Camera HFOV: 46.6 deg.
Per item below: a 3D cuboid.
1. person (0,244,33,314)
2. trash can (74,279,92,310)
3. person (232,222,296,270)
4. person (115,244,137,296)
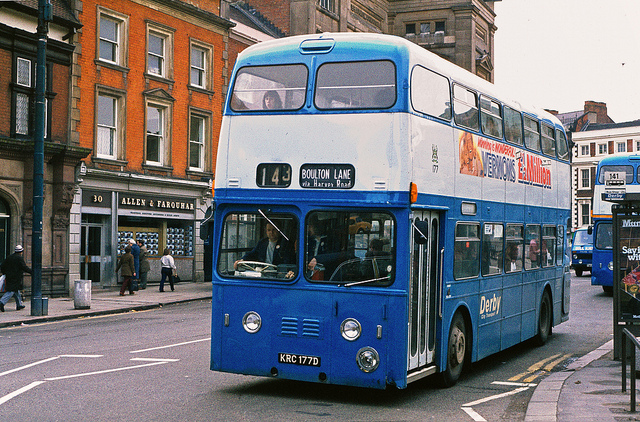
[{"bbox_3d":[-10.381,2.292,25.580,0.927,2.200,1.552,0,1,-21],"label":"person"},{"bbox_3d":[-8.111,2.898,25.737,0.485,0.975,0.437,0,1,-28],"label":"trash can"},{"bbox_3d":[-0.998,0.747,14.593,0.988,1.348,0.718,3,0,31],"label":"person"},{"bbox_3d":[-7.835,2.461,30.647,0.632,2.030,1.180,0,1,-15],"label":"person"}]
